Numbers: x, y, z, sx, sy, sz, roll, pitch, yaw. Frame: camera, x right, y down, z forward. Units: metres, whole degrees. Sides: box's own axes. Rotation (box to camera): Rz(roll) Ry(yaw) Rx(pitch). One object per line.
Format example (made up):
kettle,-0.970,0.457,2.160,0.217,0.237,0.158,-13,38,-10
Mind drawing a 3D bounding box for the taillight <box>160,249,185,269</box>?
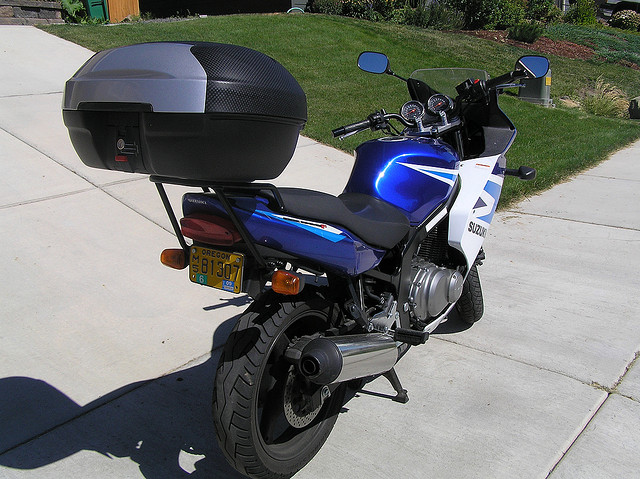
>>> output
taillight,-0.773,0.100,2.700,0.124,0.087,0.120,-10,-11,15
